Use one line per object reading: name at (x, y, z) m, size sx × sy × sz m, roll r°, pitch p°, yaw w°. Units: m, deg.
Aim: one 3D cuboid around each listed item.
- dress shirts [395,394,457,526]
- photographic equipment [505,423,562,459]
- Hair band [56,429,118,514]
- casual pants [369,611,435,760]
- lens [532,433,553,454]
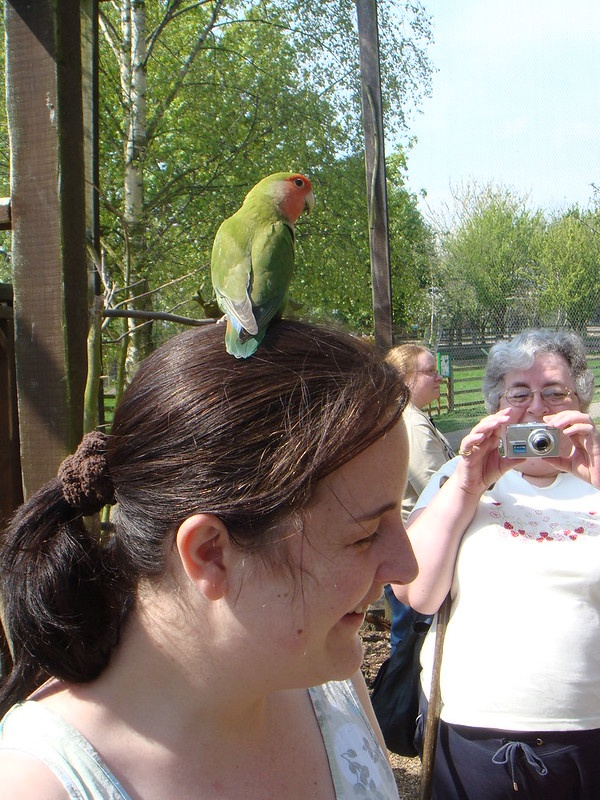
dress shirts at (0.616, 0.232, 3.658) m, size 0.217 × 0.415 × 0.424 m, roll 5°, pitch 23°, yaw 17°
photographic equipment at (0.661, 0.114, 2.135) m, size 0.144 × 0.093 × 0.099 m, roll -1°, pitch 4°, yaw 1°
Hair band at (-0.319, 0.094, 1.150) m, size 0.093 × 0.055 × 0.114 m, roll -19°, pitch 28°, yaw -26°
casual pants at (0.319, 0.904, 2.370) m, size 0.172 × 0.426 × 0.198 m, roll -3°, pitch -9°, yaw 38°
lens at (0.687, 0.122, 2.131) m, size 0.056 × 0.057 × 0.026 m, roll 7°, pitch 1°, yaw -2°
